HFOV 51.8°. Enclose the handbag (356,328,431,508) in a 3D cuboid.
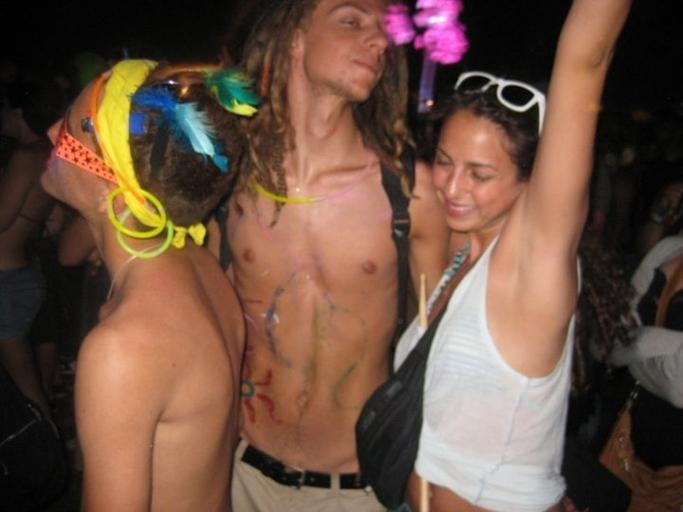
[{"bbox_3d":[0.257,0.822,3.551,0.371,0.978,0.234,4,22,7],"label":"handbag"}]
